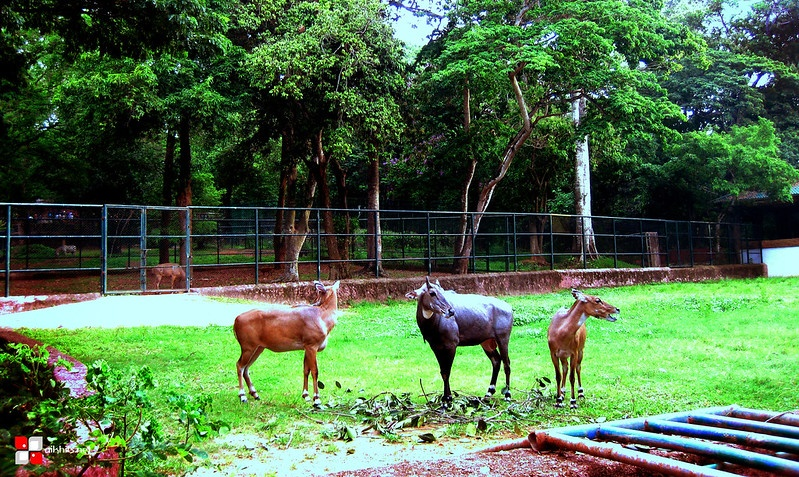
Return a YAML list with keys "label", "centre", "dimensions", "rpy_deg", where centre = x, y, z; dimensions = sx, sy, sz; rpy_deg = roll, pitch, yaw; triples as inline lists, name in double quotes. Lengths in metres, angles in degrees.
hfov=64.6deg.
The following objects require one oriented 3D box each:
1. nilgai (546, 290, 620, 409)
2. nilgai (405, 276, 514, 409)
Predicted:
- label: "nilgai"
  centre: [3.427, 2.064, 12.110]
  dimensions: [1.061, 2.185, 0.930]
  rpy_deg: [-3, -4, 17]
- label: "nilgai"
  centre: [1.263, 2.040, 12.108]
  dimensions: [2.516, 2.136, 1.516]
  rpy_deg: [9, -15, -39]
